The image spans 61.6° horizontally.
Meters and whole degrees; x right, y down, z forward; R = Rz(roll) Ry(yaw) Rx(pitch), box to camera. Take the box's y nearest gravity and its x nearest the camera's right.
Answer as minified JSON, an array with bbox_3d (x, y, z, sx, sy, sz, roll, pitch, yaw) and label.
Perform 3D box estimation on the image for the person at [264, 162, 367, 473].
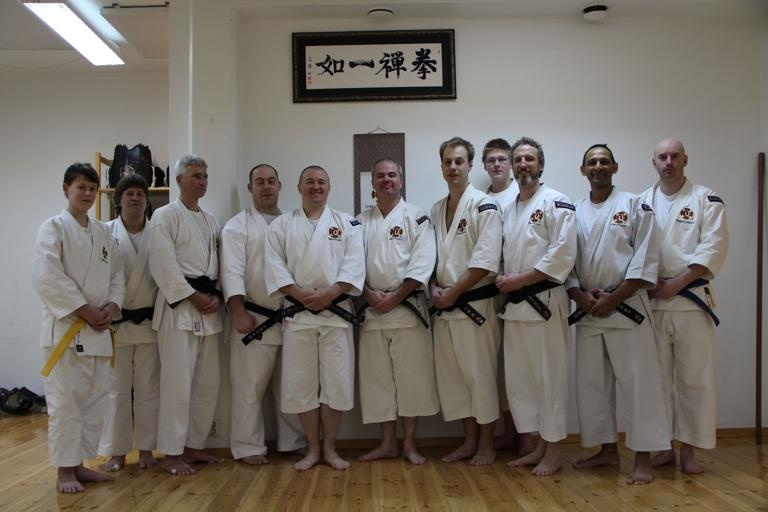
[{"bbox_3d":[-0.559,0.250,5.149,0.790,1.883,0.545,-1,10,-3],"label":"person"}]

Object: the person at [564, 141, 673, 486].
[{"bbox_3d":[1.789,0.407,4.891,0.816,2.442,0.699,4,11,26],"label":"person"}]

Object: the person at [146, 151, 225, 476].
[{"bbox_3d":[-1.568,0.443,5.099,0.561,2.403,0.587,-3,10,-13],"label":"person"}]

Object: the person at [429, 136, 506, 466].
[{"bbox_3d":[0.642,0.190,5.146,0.548,2.195,0.591,1,10,8],"label":"person"}]
